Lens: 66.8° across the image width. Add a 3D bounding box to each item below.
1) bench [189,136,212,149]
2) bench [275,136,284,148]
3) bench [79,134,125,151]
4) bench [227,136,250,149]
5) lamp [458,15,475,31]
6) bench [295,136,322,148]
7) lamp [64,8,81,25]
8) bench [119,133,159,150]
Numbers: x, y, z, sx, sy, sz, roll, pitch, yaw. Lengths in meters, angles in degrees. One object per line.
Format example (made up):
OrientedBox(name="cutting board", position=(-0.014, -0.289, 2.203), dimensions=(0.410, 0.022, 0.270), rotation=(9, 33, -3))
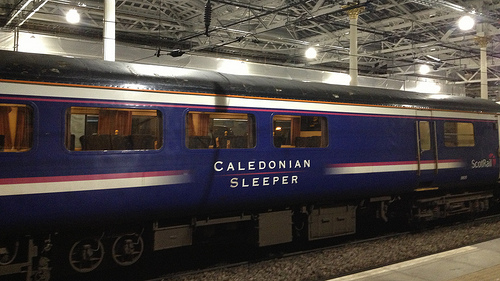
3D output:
OrientedBox(name="bench", position=(-1.458, 0.054, 11.193), dimensions=(0.745, 0.370, 0.049), rotation=(-4, 5, -19))
OrientedBox(name="bench", position=(0.898, 0.047, 11.947), dimensions=(0.405, 0.335, 0.194), rotation=(2, -5, -23))
OrientedBox(name="bench", position=(-4.077, 0.059, 10.438), dimensions=(1.133, 0.450, 0.117), rotation=(-3, 5, -11))
OrientedBox(name="bench", position=(-0.361, 0.062, 11.540), dimensions=(0.735, 0.427, 0.373), rotation=(1, -6, -22))
OrientedBox(name="lamp", position=(11.041, -6.097, 19.343), dimensions=(0.583, 0.627, 0.642), rotation=(1, 6, 35))
OrientedBox(name="bench", position=(1.905, 0.050, 12.265), dimensions=(0.745, 0.337, 0.159), rotation=(-4, 1, -13))
OrientedBox(name="lamp", position=(-8.677, -6.171, 18.614), dimensions=(0.479, 0.805, 1.372), rotation=(-4, 6, -19))
OrientedBox(name="bench", position=(-3.067, 0.052, 10.680), dimensions=(0.732, 0.305, 0.498), rotation=(1, -3, -29))
